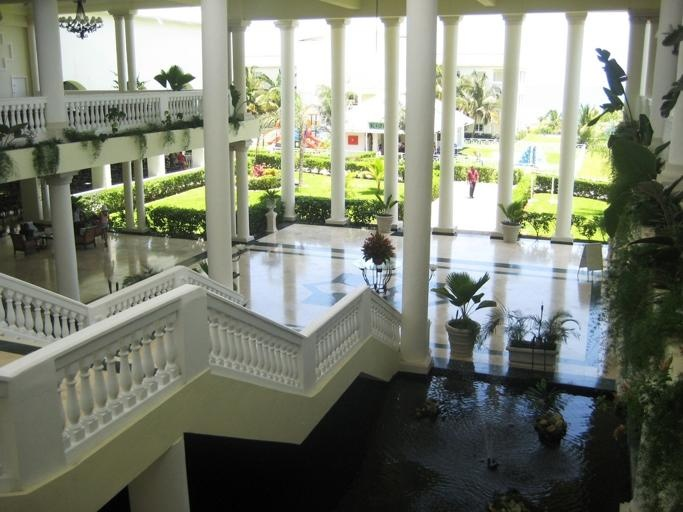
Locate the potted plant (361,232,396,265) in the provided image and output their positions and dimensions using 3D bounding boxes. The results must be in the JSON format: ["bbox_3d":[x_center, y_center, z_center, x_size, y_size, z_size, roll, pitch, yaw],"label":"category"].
[{"bbox_3d":[0.863,-0.084,12.664,0.720,0.777,0.762,-3,26,-4],"label":"potted plant"}]

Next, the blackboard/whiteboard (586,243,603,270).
[{"bbox_3d":[6.483,0.020,13.801,0.459,0.709,0.397,2,34,14],"label":"blackboard/whiteboard"}]

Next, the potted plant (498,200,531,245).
[{"bbox_3d":[5.861,-1.221,18.499,0.918,1.335,0.988,9,0,-37],"label":"potted plant"}]

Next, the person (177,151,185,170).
[{"bbox_3d":[-9.729,-5.763,32.726,0.344,0.918,1.169,-5,12,-20],"label":"person"}]

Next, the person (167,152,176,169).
[{"bbox_3d":[-10.707,-6.006,33.925,0.503,0.804,1.669,-4,12,-17],"label":"person"}]

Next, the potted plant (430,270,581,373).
[{"bbox_3d":[3.249,1.124,10.454,3.088,1.992,1.682,4,20,14],"label":"potted plant"}]
